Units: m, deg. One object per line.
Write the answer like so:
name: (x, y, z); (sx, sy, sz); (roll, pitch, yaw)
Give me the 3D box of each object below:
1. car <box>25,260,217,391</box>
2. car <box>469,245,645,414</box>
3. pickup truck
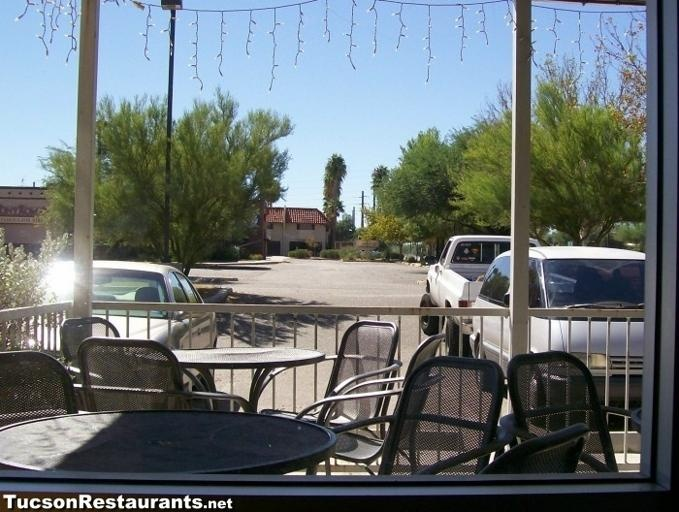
car: (-2.066, 0.624, 7.697); (0.946, 0.912, 2.374); (1, -10, 1)
car: (2.343, 0.628, 7.631); (1.124, 1.313, 2.267); (1, -7, -6)
pickup truck: (2.213, 0.424, 12.235); (1.371, 1.707, 3.099); (-1, 7, -5)
